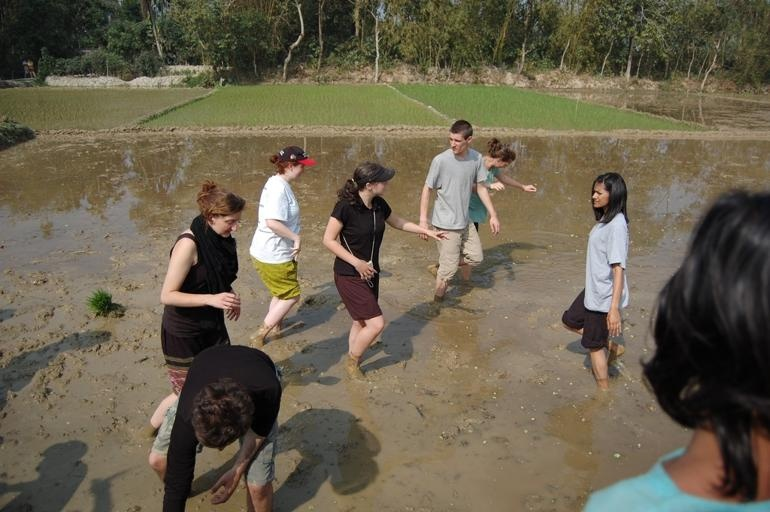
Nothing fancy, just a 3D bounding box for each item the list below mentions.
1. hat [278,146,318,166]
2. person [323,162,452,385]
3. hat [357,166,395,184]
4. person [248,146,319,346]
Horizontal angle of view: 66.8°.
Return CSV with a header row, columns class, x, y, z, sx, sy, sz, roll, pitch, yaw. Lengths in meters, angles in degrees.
class,x,y,z,sx,sy,sz,roll,pitch,yaw
hat,-1.139,-1.232,7.658,0.459,0.169,0.284,-1,27,-25
person,-0.336,0.202,7.198,0.794,2.617,0.654,1,20,-1
hat,-0.109,-0.934,6.877,0.353,0.106,0.216,-11,43,3
person,-1.415,-0.087,7.776,0.689,2.601,0.726,2,20,1
